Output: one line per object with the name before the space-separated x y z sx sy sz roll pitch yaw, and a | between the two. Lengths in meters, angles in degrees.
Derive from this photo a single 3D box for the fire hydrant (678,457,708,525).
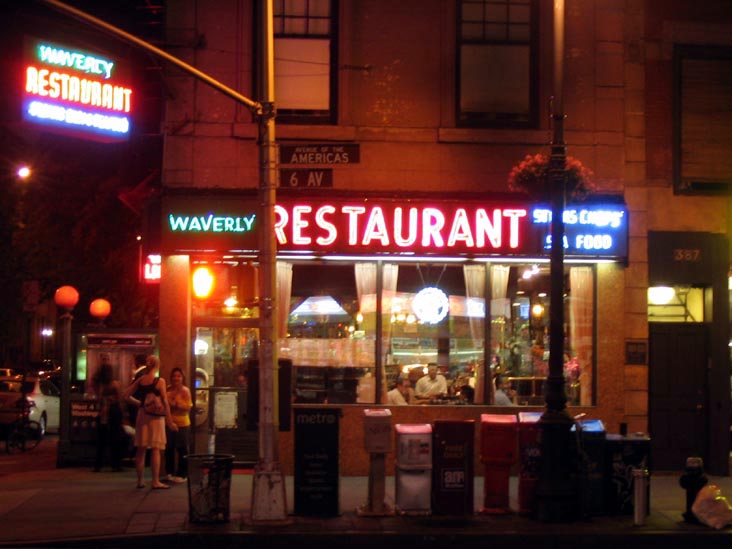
fire hydrant | 5.622 3.699 18.114 0.504 0.995 0.595 0 -1 13

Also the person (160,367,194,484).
person | -3.676 2.949 20.785 0.748 2.310 0.975 -2 -4 31

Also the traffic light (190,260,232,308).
traffic light | -3.316 0.160 21.892 1.026 0.962 0.244 2 2 -8

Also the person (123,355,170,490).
person | -4.207 2.859 20.344 0.816 2.486 1.000 6 0 -7
